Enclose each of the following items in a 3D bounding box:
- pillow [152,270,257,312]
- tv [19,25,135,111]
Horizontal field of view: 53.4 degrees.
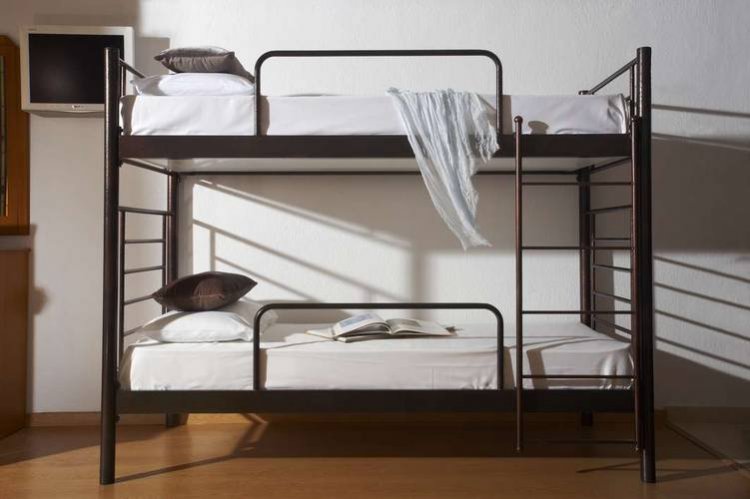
[{"bbox_3d":[-1.123,0.293,5.261,0.651,0.233,0.662,-12,11,-43],"label":"pillow"},{"bbox_3d":[-2.151,-1.344,5.622,0.892,0.609,0.483,4,7,16],"label":"tv"}]
